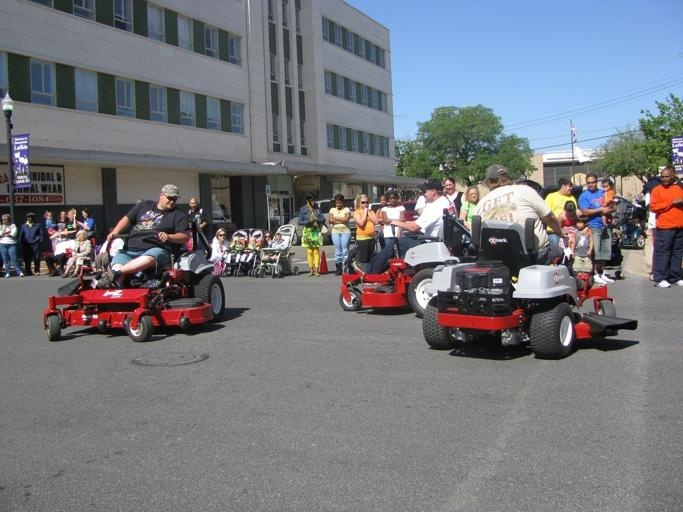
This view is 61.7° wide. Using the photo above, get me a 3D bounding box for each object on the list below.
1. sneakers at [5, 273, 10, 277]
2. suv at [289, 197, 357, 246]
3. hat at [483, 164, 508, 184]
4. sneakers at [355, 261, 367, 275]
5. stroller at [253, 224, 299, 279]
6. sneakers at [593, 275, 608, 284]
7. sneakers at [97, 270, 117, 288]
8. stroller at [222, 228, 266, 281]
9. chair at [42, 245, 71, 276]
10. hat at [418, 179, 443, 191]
[{"bbox_3d":[-10.977,0.625,18.771,0.157,0.072,0.224,0,-6,-13],"label":"sneakers"},{"bbox_3d":[-1.301,-1.901,29.426,3.939,2.494,2.427,2,2,16],"label":"suv"},{"bbox_3d":[2.116,-1.113,7.747,0.281,0.290,0.319,-3,4,16],"label":"hat"},{"bbox_3d":[0.326,0.183,9.906,0.243,0.218,0.427,-4,4,2],"label":"sneakers"},{"bbox_3d":[-2.222,-0.037,17.435,1.118,1.960,1.486,-2,-4,33],"label":"stroller"},{"bbox_3d":[5.581,0.504,12.362,0.121,0.159,0.318,-5,10,-28],"label":"sneakers"},{"bbox_3d":[-3.404,0.338,8.294,0.311,0.255,0.151,-5,4,-2],"label":"sneakers"},{"bbox_3d":[-2.897,-0.133,17.664,1.002,1.372,1.376,1,0,17],"label":"stroller"},{"bbox_3d":[-9.512,0.129,18.934,0.880,1.063,0.853,0,-5,33],"label":"chair"},{"bbox_3d":[1.577,-1.258,10.057,0.288,0.156,0.218,0,0,9],"label":"hat"}]
